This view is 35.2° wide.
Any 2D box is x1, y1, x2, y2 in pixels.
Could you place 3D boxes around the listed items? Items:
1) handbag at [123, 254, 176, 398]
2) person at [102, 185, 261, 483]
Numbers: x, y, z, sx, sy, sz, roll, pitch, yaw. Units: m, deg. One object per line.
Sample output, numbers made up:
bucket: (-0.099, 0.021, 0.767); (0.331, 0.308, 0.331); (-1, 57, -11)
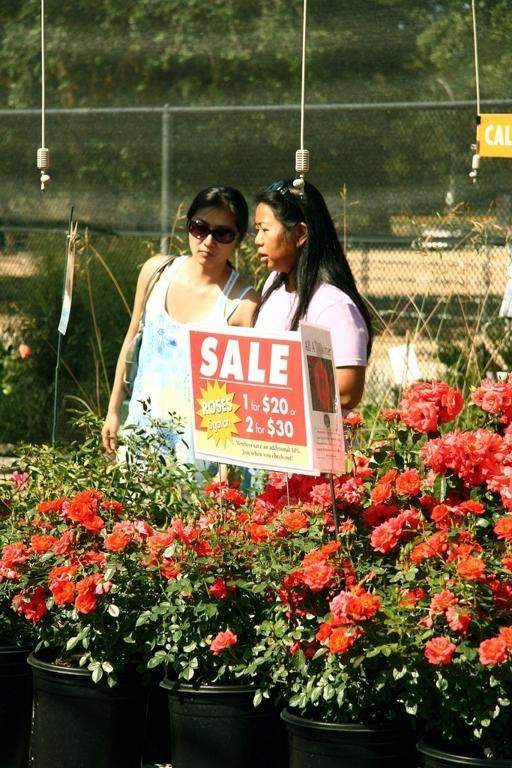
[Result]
handbag: (-0.345, -0.181, 2.433); (0.090, 0.381, 0.223); (11, 5, 41)
person: (-0.253, -0.008, 2.415); (0.360, 1.093, 0.317); (12, 14, 0)
